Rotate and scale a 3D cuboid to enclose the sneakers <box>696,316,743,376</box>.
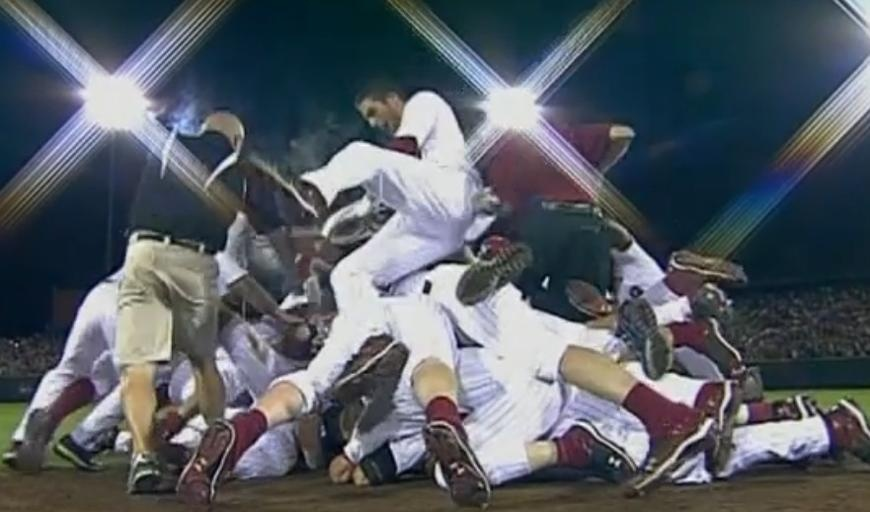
[{"bbox_3d":[2.385,0.740,9.116,0.287,0.468,0.169,-34,-8,-17],"label":"sneakers"}]
